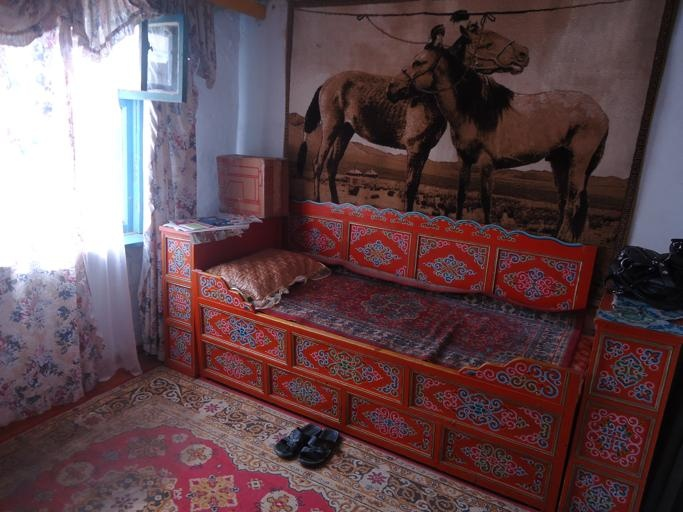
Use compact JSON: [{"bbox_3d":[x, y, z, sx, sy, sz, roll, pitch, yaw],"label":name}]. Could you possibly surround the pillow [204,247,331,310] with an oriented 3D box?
[{"bbox_3d":[-0.577,0.160,4.047,0.553,0.139,0.589,21,23,24],"label":"pillow"}]
